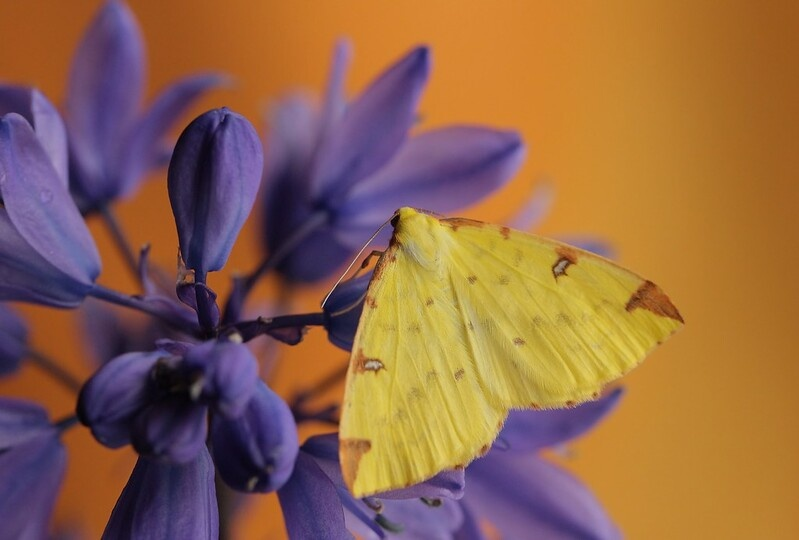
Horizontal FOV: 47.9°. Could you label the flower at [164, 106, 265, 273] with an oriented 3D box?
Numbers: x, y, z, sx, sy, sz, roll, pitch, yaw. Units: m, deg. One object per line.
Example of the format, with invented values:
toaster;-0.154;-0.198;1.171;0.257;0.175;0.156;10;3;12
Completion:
flower;-0.211;-0.091;1.000;0.095;0.104;0.211;13;-63;4
